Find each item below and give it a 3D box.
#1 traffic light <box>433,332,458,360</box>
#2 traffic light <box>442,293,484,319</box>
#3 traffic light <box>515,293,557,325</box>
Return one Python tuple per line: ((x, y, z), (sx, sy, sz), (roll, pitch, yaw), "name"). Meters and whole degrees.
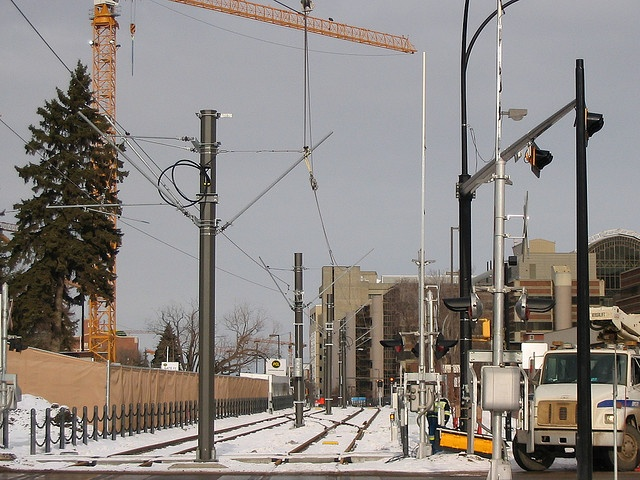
((5.049, 4.290, 54.574), (1.010, 1.324, 1.061), (1, 0, 3), "traffic light")
((4.741, 2.236, 45.359), (1.271, 1.113, 0.719), (2, 4, 6), "traffic light")
((7.052, 2.269, 45.152), (0.969, 0.891, 1.058), (0, -3, 6), "traffic light")
